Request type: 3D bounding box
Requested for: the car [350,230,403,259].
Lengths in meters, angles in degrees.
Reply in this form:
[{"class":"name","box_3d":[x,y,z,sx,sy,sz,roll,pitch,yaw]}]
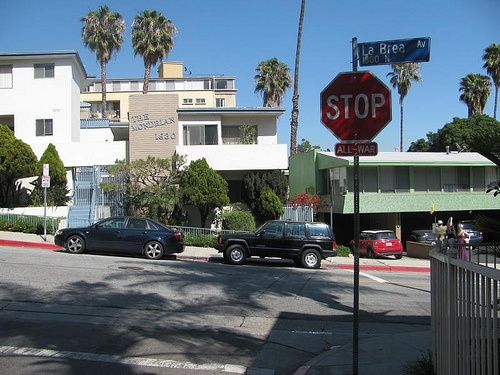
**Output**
[{"class":"car","box_3d":[6.988,3.044,27.431,2.115,1.477,1.442,0,-4,23]}]
